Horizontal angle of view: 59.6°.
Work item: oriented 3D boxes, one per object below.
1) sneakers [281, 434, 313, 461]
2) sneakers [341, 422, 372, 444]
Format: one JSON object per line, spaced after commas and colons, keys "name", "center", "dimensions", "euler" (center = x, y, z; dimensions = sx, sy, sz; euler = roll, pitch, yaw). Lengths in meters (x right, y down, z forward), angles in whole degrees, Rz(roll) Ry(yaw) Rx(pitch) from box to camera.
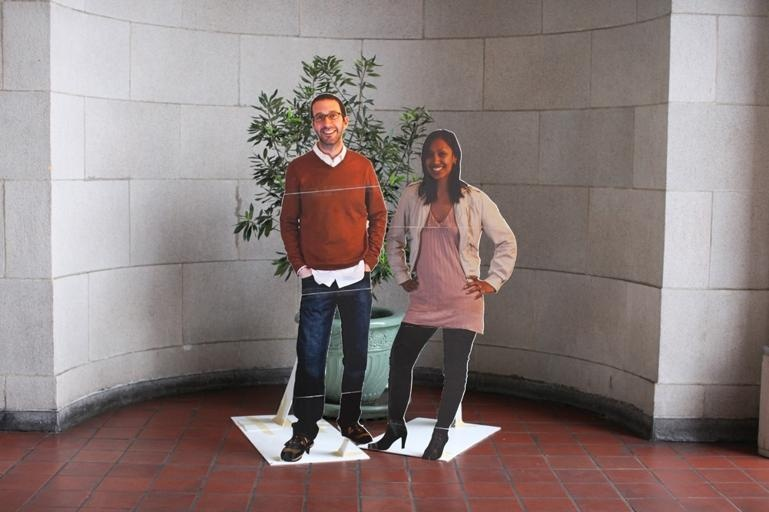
{"name": "sneakers", "center": [-0.700, 1.502, 5.268], "dimensions": [0.128, 0.106, 0.250], "euler": [3, 7, 20]}
{"name": "sneakers", "center": [-0.228, 1.431, 5.410], "dimensions": [0.253, 0.107, 0.138], "euler": [32, 58, 14]}
